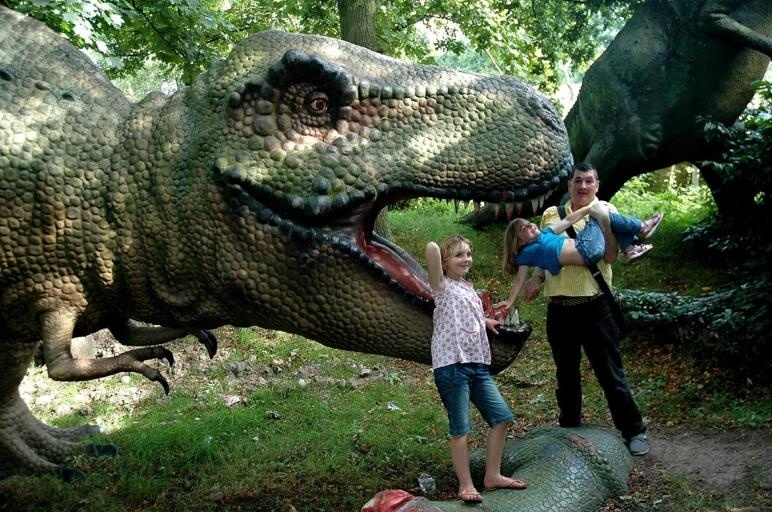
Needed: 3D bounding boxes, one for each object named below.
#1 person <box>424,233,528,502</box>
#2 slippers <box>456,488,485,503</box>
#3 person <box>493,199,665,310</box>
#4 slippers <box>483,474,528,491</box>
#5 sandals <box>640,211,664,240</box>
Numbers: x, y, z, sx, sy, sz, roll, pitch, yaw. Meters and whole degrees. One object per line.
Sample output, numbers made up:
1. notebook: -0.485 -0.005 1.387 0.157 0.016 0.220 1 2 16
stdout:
1. person: 0.682 0.889 5.790 0.642 1.945 0.861 -12 28 -36
2. slippers: 0.668 1.866 5.783 0.164 0.104 0.272 1 -16 4
3. person: 1.648 -0.102 6.267 1.295 0.537 0.860 -12 32 20
4. slippers: 0.967 1.820 5.956 0.336 0.111 0.130 -5 -1 2
5. sandals: 2.188 -0.253 6.112 0.115 0.246 0.382 15 23 22
